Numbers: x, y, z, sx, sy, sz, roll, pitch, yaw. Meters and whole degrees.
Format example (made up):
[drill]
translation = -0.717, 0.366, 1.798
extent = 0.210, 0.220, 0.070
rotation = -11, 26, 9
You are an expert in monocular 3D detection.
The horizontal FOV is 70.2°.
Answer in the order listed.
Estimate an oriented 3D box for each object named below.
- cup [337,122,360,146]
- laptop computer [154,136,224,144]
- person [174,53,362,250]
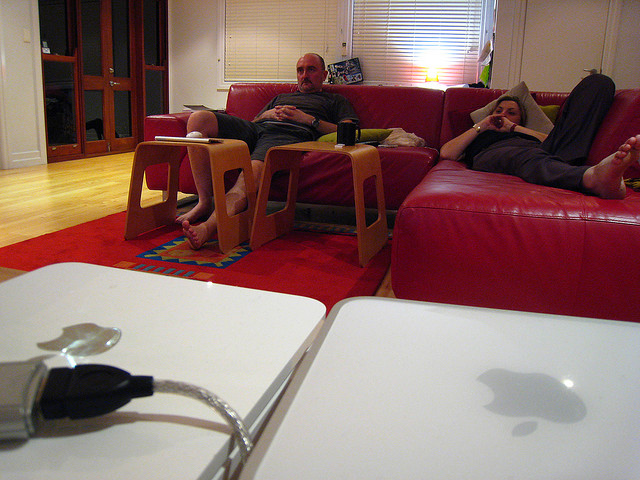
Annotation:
[cup]
translation = 0.121, -0.484, 2.067
extent = 0.084, 0.099, 0.141
rotation = 2, 15, 1
[laptop computer]
translation = -0.558, -0.433, 1.968
extent = 0.263, 0.019, 0.180
rotation = 4, 15, 6
[person]
translation = -0.453, -0.605, 2.602
extent = 0.747, 0.887, 1.392
rotation = 15, 26, 30
